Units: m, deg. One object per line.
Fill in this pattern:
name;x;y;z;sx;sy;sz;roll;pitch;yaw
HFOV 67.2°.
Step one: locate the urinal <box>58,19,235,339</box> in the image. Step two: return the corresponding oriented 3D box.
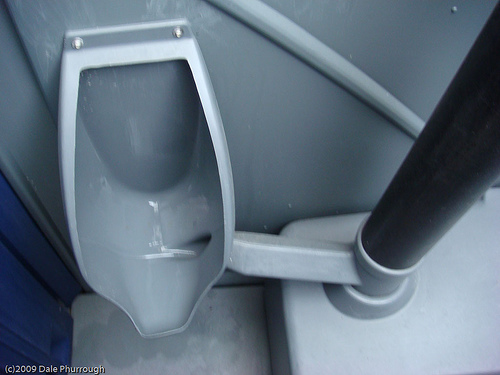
urinal;-0.300;-0.002;1.101;0.499;0.732;0.505;0;42;-4
